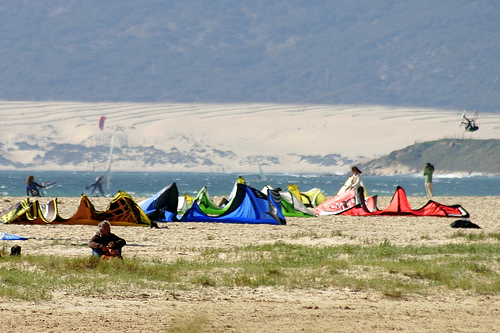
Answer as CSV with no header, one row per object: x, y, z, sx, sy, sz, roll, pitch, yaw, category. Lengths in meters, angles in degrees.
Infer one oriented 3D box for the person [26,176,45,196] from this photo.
-13.002,1.098,74.204,0.962,0.877,1.488,2,9,4,person
